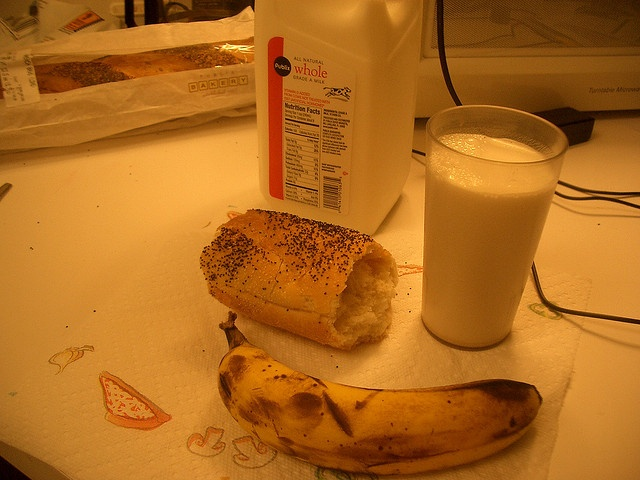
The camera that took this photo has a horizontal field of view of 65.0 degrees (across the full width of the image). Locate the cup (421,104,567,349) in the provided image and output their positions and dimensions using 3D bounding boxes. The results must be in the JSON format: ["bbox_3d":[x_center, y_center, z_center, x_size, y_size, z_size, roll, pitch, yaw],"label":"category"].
[{"bbox_3d":[0.197,-0.013,0.631,0.146,0.264,0.161,-1,38,-3],"label":"cup"}]

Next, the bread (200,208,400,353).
[{"bbox_3d":[-0.026,0.040,0.705,0.260,0.107,0.176,21,42,30],"label":"bread"}]
